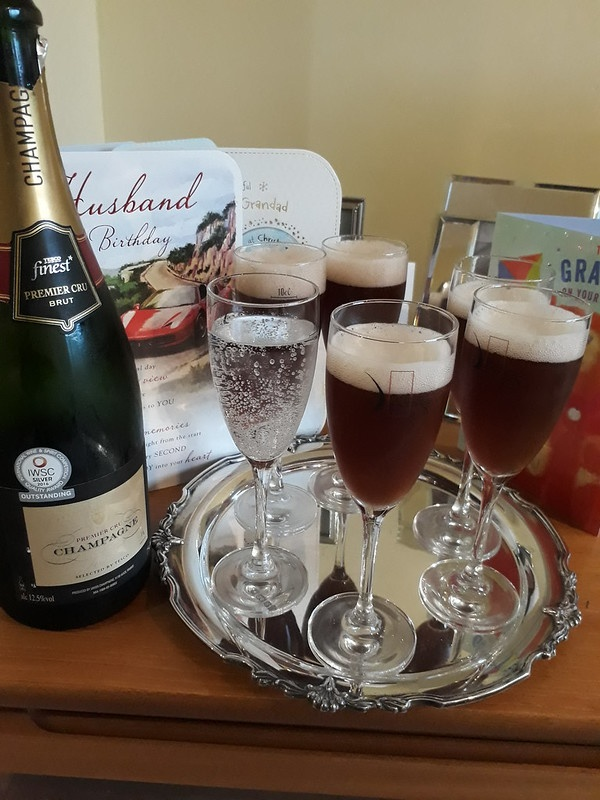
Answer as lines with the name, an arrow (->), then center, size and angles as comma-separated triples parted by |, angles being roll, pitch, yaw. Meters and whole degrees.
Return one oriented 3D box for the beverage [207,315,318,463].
beverage -> -0.030, -0.003, 0.544 | 0.083, 0.128, 0.056 | 0, 32, -7
